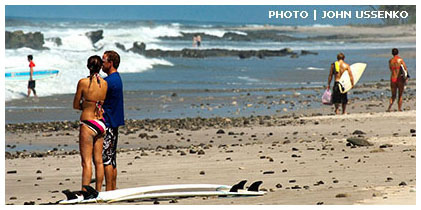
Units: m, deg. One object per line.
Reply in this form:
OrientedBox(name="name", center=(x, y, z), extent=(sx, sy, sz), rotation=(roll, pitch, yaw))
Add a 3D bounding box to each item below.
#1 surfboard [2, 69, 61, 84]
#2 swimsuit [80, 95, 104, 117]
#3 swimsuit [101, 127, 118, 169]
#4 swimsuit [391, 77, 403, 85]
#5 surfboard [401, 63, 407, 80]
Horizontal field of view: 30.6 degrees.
OrientedBox(name="surfboard", center=(-13.476, -2.040, 55.614), extent=(5.459, 0.838, 0.407), rotation=(-5, 15, -26))
OrientedBox(name="swimsuit", center=(-5.998, 0.073, 38.731), extent=(1.109, 1.124, 0.178), rotation=(-3, 6, -5))
OrientedBox(name="swimsuit", center=(-5.456, 2.100, 39.230), extent=(0.885, 1.817, 1.078), rotation=(1, 0, -11))
OrientedBox(name="swimsuit", center=(11.439, -1.435, 47.131), extent=(0.501, 0.317, 0.523), rotation=(2, 3, 37))
OrientedBox(name="surfboard", center=(11.811, -1.968, 46.927), extent=(0.327, 0.959, 0.128), rotation=(-2, 6, 10))
